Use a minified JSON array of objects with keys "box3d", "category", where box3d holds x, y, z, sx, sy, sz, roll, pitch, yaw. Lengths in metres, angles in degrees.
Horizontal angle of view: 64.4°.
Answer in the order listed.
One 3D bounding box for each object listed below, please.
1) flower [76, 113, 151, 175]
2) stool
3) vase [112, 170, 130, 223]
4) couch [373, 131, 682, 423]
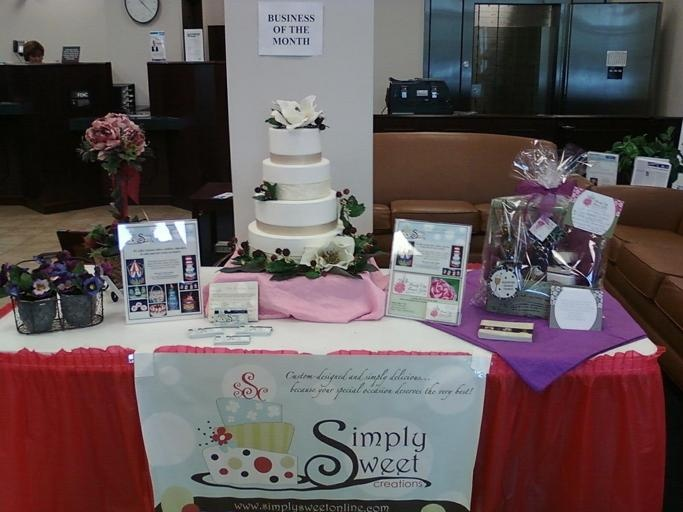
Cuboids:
[{"box3d":[-0.837,-0.430,2.104,0.167,0.154,0.168,-3,13,-34],"category":"flower"},{"box3d":[-0.848,-0.209,3.594,0.305,0.457,0.470,3,25,3],"category":"stool"},{"box3d":[-0.854,-0.235,2.104,0.071,0.184,0.139,-7,19,-15],"category":"vase"},{"box3d":[1.288,0.020,4.398,2.082,0.768,1.559,9,25,4],"category":"couch"}]
